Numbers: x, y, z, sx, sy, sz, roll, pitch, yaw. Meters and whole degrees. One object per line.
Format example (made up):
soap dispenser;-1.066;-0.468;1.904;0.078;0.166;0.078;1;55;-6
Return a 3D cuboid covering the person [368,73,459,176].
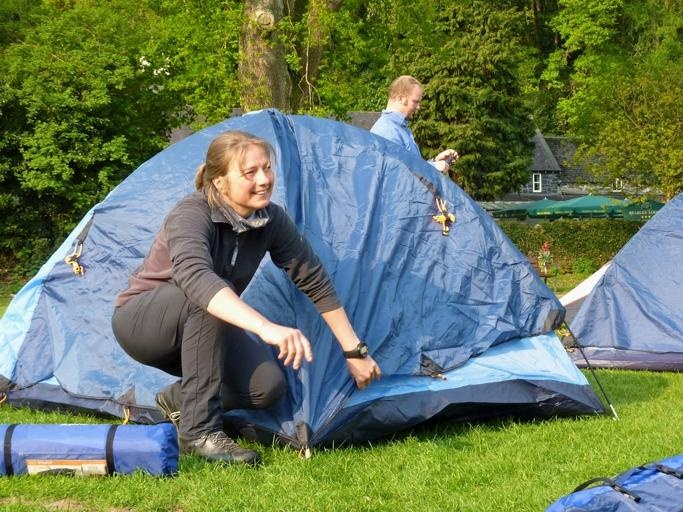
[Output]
person;0.705;-1.232;7.943;0.824;0.934;1.070;9;19;22

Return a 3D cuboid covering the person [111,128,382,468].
person;-0.750;0.240;5.548;1.325;2.151;1.099;11;16;37

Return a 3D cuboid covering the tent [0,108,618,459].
tent;-0.330;0.227;6.470;3.197;1.788;3.366;-2;2;-33
